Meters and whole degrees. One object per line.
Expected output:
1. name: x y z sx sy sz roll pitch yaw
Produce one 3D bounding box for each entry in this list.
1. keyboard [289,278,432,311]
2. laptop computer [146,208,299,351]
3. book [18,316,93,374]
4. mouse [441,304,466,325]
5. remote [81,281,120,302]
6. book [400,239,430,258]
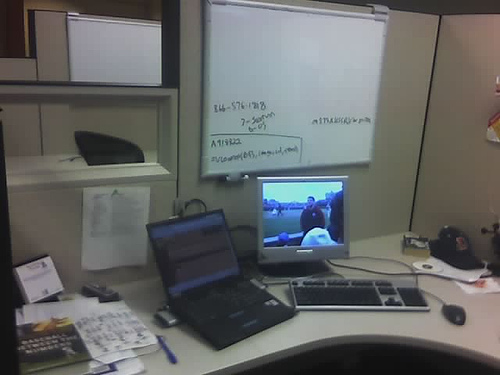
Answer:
1. keyboard: 0.386 0.383 1.488 0.471 0.070 0.134 -3 16 -1
2. laptop computer: -0.103 0.266 1.380 0.347 0.288 0.447 -11 14 -41
3. book: -0.573 0.454 1.227 0.184 0.067 0.209 -11 18 -27
4. mouse: 0.688 0.425 1.407 0.074 0.040 0.061 8 19 33
5. remote: -0.520 0.347 1.454 0.087 0.032 0.070 14 10 19
6. book: 0.736 0.280 1.859 0.132 0.046 0.074 8 19 32
